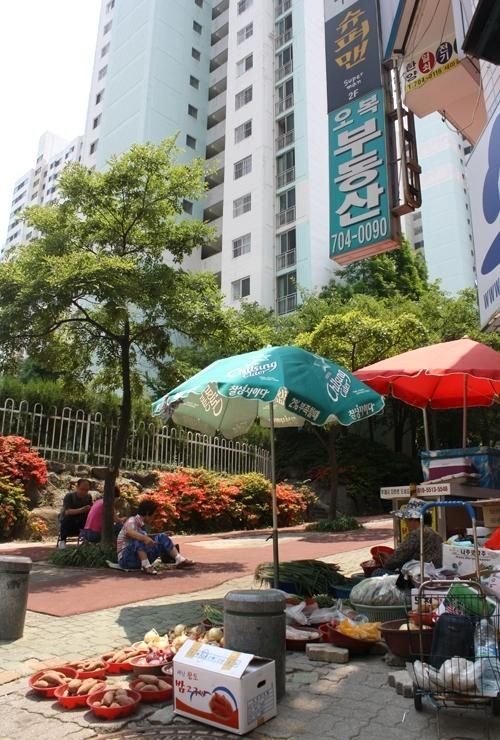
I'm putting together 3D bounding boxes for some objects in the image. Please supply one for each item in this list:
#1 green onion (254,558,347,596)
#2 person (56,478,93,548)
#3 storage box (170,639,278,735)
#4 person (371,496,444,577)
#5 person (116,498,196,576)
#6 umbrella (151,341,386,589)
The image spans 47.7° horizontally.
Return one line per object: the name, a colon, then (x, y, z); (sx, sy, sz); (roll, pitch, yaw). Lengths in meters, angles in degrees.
green onion: (0.468, 2.070, 5.994); (0.932, 0.390, 0.925); (-1, -4, 22)
person: (-3.059, 2.491, 9.963); (0.484, 1.234, 0.551); (1, -2, 30)
storage box: (-0.123, 1.646, 2.995); (0.503, 0.382, 0.372); (-9, -14, 36)
person: (1.405, 1.574, 5.073); (0.598, 0.781, 0.541); (0, -9, 36)
person: (-1.404, 2.294, 7.774); (1.276, 1.069, 0.909); (-5, -18, 7)
umbrella: (0.262, 1.097, 5.727); (2.448, 2.433, 2.253); (13, -14, -41)
